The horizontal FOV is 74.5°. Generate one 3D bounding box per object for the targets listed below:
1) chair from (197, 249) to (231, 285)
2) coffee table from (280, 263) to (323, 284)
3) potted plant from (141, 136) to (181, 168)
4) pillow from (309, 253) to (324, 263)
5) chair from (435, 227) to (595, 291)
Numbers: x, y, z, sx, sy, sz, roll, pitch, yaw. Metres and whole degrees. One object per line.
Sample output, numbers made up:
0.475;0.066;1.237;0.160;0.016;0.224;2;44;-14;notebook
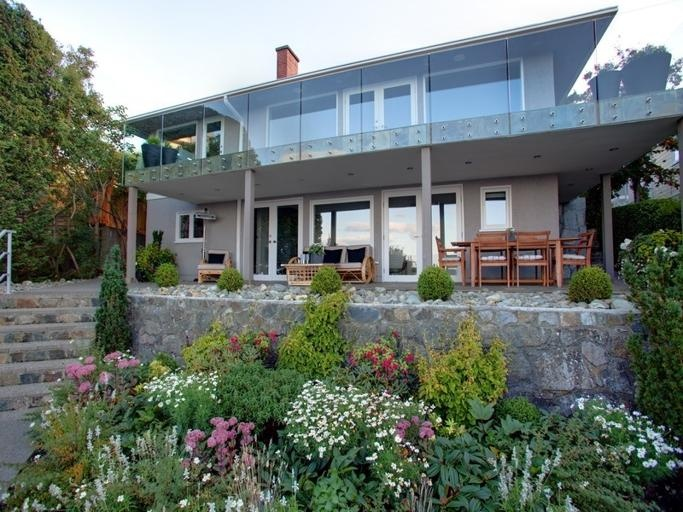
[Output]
-3.913;0.277;14.012;0.899;1.008;1.530;-1;-2;-14;chair
-0.989;0.444;11.403;0.518;0.493;0.756;0;-3;7;coffee table
-5.017;-2.805;12.616;0.969;0.808;0.776;-1;-4;6;potted plant
-0.674;0.062;11.858;0.243;0.203;0.260;1;-5;1;pillow
4.027;0.000;10.266;2.867;1.373;2.676;-2;-2;25;chair
